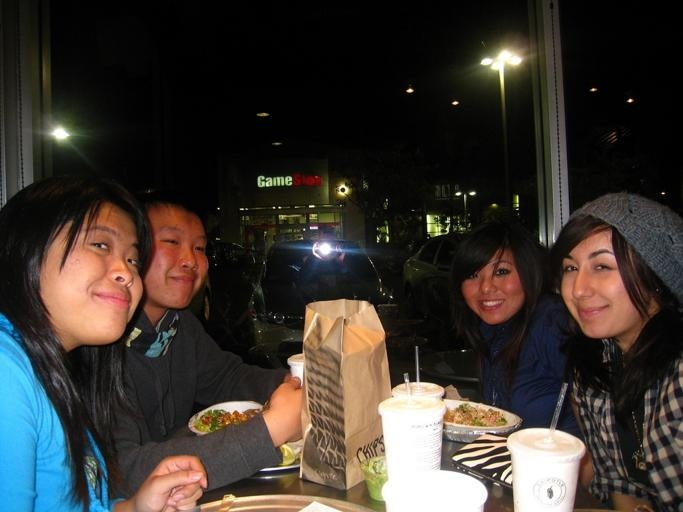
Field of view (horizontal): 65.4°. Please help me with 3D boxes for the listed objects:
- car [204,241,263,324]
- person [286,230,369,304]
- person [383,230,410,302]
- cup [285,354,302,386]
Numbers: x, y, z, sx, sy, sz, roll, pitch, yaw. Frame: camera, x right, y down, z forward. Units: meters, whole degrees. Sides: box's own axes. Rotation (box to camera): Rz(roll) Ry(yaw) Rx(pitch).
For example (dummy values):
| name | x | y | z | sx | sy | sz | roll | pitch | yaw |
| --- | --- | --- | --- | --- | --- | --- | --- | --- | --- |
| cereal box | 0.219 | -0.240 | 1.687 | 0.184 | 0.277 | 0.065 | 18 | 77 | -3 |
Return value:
| name | x | y | z | sx | sy | sz | roll | pitch | yaw |
| --- | --- | --- | --- | --- | --- | --- | --- | --- | --- |
| car | -2.471 | 0.565 | 12.071 | 1.618 | 1.507 | 2.919 | 4 | 6 | -3 |
| person | -0.121 | 0.167 | 5.935 | 0.725 | 0.374 | 1.105 | -2 | -42 | -1 |
| person | 0.941 | -0.153 | 9.179 | 0.499 | 1.234 | 0.442 | -2 | -23 | 5 |
| cup | -0.226 | 0.577 | 2.657 | 0.098 | 0.106 | 0.103 | -3 | -8 | 0 |
